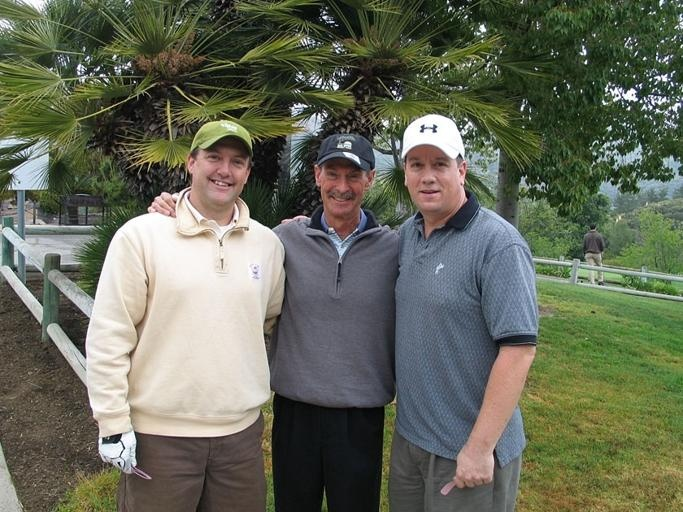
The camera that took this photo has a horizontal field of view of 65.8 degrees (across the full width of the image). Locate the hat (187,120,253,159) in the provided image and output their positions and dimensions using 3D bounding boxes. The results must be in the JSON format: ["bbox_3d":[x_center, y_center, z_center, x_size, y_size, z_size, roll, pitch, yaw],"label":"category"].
[{"bbox_3d":[-0.772,-0.788,3.522,0.357,0.263,0.479,1,-1,-24],"label":"hat"}]

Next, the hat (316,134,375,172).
[{"bbox_3d":[0.035,-0.759,3.862,0.417,0.284,0.581,6,1,-1],"label":"hat"}]
